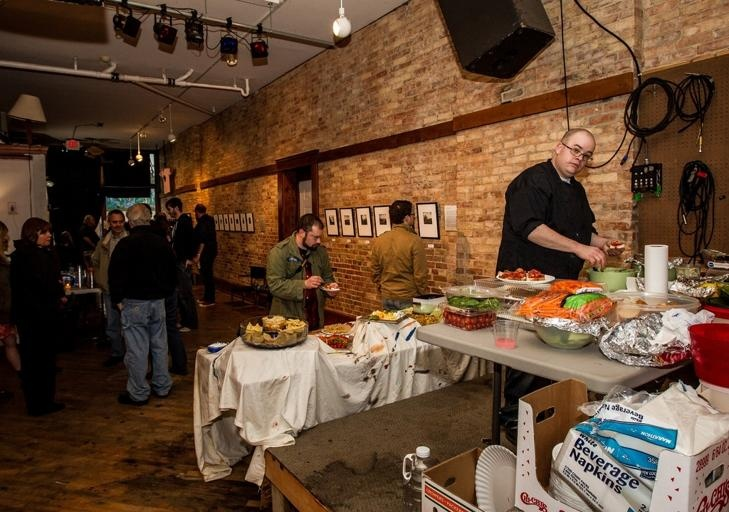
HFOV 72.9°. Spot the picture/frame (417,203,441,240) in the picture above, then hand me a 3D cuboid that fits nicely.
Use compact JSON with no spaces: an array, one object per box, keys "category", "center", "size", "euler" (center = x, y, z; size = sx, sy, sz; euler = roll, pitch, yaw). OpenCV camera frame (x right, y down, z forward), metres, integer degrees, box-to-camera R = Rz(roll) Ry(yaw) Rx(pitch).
[{"category":"picture/frame","center":[0.795,-0.424,6.024],"size":[0.029,0.597,0.498],"euler":[-6,4,-33]}]

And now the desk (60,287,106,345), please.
[{"category":"desk","center":[-3.917,0.849,6.876],"size":[0.516,0.832,0.906],"euler":[-5,8,-34]}]

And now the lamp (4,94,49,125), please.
[{"category":"lamp","center":[-5.259,-2.318,7.681],"size":[0.413,0.447,0.617],"euler":[-6,10,-28]}]

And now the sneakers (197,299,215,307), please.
[{"category":"sneakers","center":[-3.189,0.945,9.905],"size":[0.364,0.240,0.122],"euler":[-2,1,6]}]

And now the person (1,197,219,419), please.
[{"category":"person","center":[-2.667,0.516,4.978],"size":[1.469,2.033,0.426],"euler":[-3,9,-12]}]

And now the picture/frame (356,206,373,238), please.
[{"category":"picture/frame","center":[0.002,-0.495,7.032],"size":[0.048,0.559,0.458],"euler":[-1,0,-33]}]

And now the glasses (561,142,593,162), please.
[{"category":"glasses","center":[1.521,-0.754,3.510],"size":[0.146,0.043,0.146],"euler":[14,22,-19]}]

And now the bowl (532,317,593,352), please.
[{"category":"bowl","center":[0.930,0.340,2.313],"size":[0.193,0.096,0.191],"euler":[0,-2,0]}]

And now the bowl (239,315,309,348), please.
[{"category":"bowl","center":[-0.662,0.531,3.507],"size":[0.462,0.169,0.334],"euler":[0,9,8]}]

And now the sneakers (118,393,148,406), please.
[{"category":"sneakers","center":[-2.413,1.491,5.139],"size":[0.315,0.128,0.126],"euler":[4,3,15]}]

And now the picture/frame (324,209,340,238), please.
[{"category":"picture/frame","center":[-0.507,-0.516,7.708],"size":[0.059,0.552,0.473],"euler":[0,0,-34]}]

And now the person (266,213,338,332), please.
[{"category":"person","center":[-0.587,0.180,4.500],"size":[0.602,1.096,0.713],"euler":[-3,9,-11]}]

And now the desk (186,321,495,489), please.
[{"category":"desk","center":[-0.237,0.922,3.694],"size":[1.829,0.645,1.133],"euler":[-6,9,-25]}]

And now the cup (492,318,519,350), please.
[{"category":"cup","center":[0.689,0.383,2.419],"size":[0.116,0.109,0.136],"euler":[0,-2,-22]}]

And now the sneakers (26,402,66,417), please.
[{"category":"sneakers","center":[-3.152,1.508,4.883],"size":[0.292,0.113,0.115],"euler":[-6,10,-31]}]

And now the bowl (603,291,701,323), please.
[{"category":"bowl","center":[1.395,0.253,2.381],"size":[0.394,0.084,0.440],"euler":[3,9,23]}]

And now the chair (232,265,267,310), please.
[{"category":"chair","center":[-2.376,0.572,9.985],"size":[0.644,0.833,1.852],"euler":[-4,9,-17]}]

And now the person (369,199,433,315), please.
[{"category":"person","center":[0.335,0.007,5.222],"size":[0.654,1.174,0.302],"euler":[6,11,38]}]

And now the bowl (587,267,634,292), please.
[{"category":"bowl","center":[1.512,0.128,3.038],"size":[0.225,0.111,0.249],"euler":[2,5,9]}]

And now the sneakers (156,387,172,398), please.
[{"category":"sneakers","center":[-2.125,1.440,5.222],"size":[0.121,0.114,0.097],"euler":[-8,-9,44]}]
